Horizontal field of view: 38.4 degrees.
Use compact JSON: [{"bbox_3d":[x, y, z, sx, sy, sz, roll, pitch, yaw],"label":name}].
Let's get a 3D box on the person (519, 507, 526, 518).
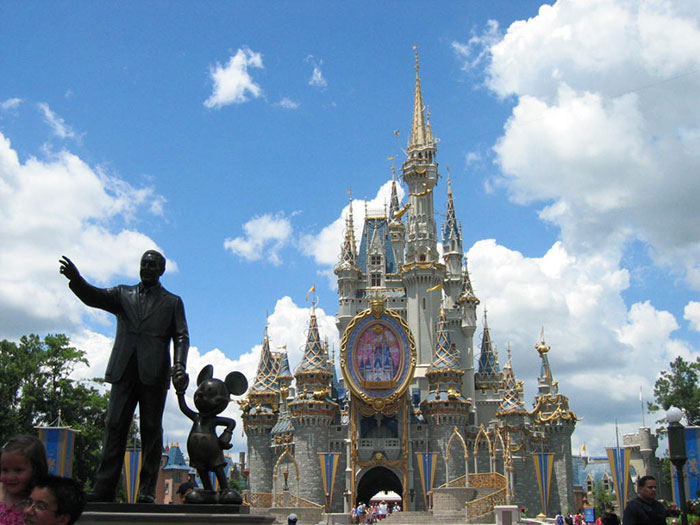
[{"bbox_3d":[13.925,20.019,80.829,0.703,1.088,0.337,2,3,25],"label":"person"}]
